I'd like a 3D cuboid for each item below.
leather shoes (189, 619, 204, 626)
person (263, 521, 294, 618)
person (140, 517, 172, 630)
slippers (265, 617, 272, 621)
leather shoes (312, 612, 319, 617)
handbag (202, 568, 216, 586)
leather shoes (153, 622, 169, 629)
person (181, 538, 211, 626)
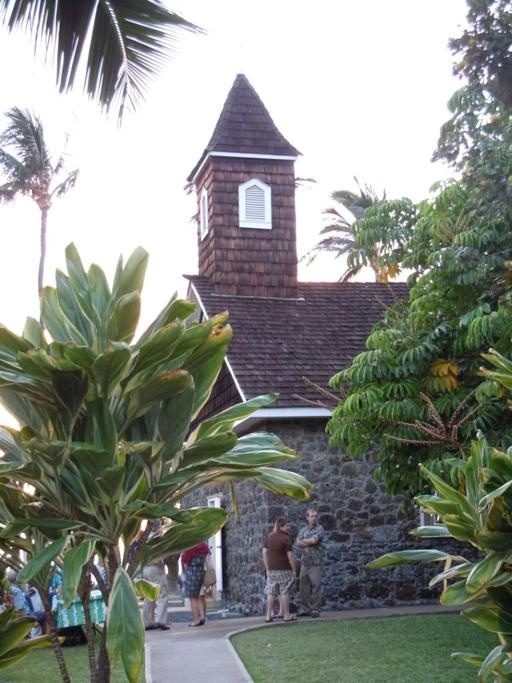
[{"bbox_3d":[-0.990,4.701,10.771,0.252,0.096,0.203,4,-13,-16],"label":"leather shoes"},{"bbox_3d":[0.382,3.802,10.740,0.495,1.657,0.501,1,-12,1],"label":"person"},{"bbox_3d":[-1.622,4.048,10.342,0.466,1.168,1.246,2,-13,-7],"label":"person"},{"bbox_3d":[0.206,4.585,10.624,0.059,0.068,0.175,2,-23,-4],"label":"slippers"},{"bbox_3d":[1.021,4.675,11.018,0.122,0.082,0.199,1,-12,-1],"label":"leather shoes"},{"bbox_3d":[-0.789,4.017,10.924,0.185,0.313,0.412,1,-12,-2],"label":"handbag"},{"bbox_3d":[-1.541,4.612,10.439,0.259,0.101,0.093,4,0,-13],"label":"leather shoes"},{"bbox_3d":[-1.045,4.112,10.856,0.479,1.378,1.199,2,-13,-6],"label":"person"}]
